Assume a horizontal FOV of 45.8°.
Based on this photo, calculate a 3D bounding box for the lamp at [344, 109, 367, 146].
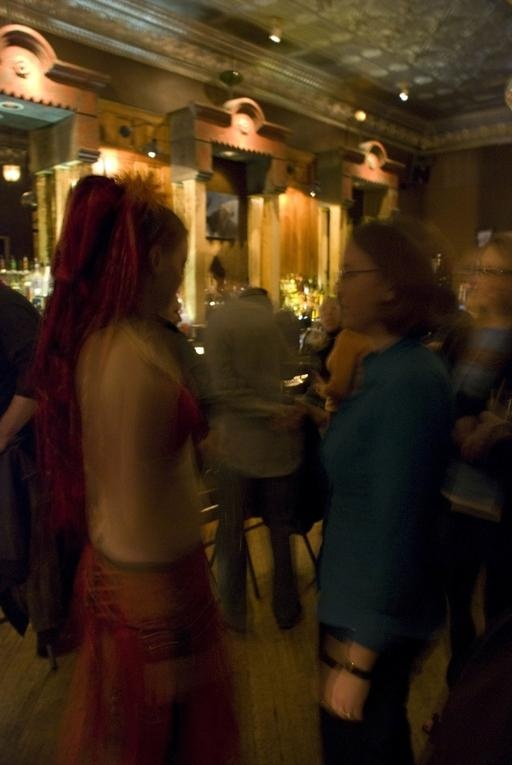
[{"bbox_3d":[1.349,-3.456,7.979,0.201,0.573,0.219,16,13,2],"label":"lamp"}]

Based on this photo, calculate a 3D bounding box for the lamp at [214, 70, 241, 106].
[{"bbox_3d":[-0.296,-3.064,6.193,0.227,0.403,0.252,-3,-20,12],"label":"lamp"}]

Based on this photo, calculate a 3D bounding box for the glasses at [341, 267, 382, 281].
[{"bbox_3d":[0.173,-0.176,1.006,0.016,0.014,0.102,13,1,-26],"label":"glasses"}]
